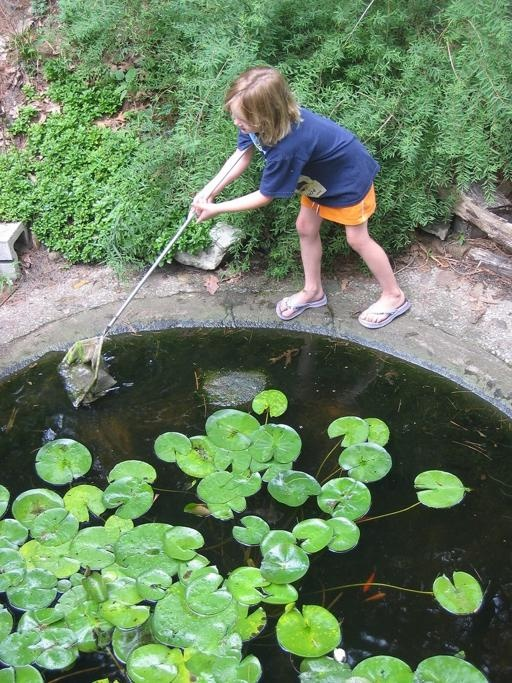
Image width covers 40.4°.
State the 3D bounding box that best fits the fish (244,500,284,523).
[{"bbox_3d":[0.041,0.686,2.825,0.144,0.042,0.106,8,35,34],"label":"fish"}]

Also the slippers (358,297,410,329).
[{"bbox_3d":[0.670,-0.131,3.700,0.259,0.073,0.127,-25,42,1],"label":"slippers"}]

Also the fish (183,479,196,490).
[{"bbox_3d":[-0.278,0.600,2.926,0.024,0.012,0.044,16,29,17],"label":"fish"}]

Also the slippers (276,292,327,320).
[{"bbox_3d":[0.245,-0.177,3.788,0.225,0.068,0.133,-15,41,8],"label":"slippers"}]

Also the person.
[{"bbox_3d":[0.181,-0.666,3.306,0.982,1.209,0.484,-7,32,-3],"label":"person"}]

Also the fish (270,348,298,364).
[{"bbox_3d":[0.154,0.075,3.615,0.128,0.002,0.074,-10,45,-11],"label":"fish"}]

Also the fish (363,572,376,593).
[{"bbox_3d":[0.421,0.894,2.582,0.021,0.027,0.083,32,61,7],"label":"fish"}]
